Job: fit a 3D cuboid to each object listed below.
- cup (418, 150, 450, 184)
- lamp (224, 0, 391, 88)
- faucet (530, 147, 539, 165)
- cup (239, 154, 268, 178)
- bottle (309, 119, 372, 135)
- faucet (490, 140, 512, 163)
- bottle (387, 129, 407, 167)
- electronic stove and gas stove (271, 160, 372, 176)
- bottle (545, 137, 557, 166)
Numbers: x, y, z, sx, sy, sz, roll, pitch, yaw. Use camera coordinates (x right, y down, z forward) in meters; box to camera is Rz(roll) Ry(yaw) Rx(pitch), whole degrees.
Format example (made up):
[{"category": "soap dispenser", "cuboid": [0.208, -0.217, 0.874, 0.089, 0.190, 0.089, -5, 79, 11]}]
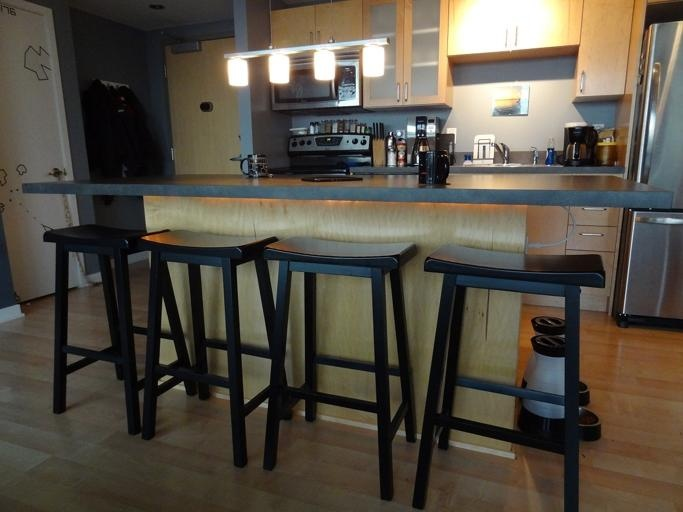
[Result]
[{"category": "cup", "cuboid": [0.458, -0.440, 2.633, 0.146, 0.158, 0.162, 2, 14, 8]}, {"category": "lamp", "cuboid": [-0.212, -1.213, 3.304, 1.014, 0.272, 0.318, 3, 14, 12]}, {"category": "faucet", "cuboid": [1.704, -0.881, 4.669, 0.071, 0.145, 0.229, 5, 14, 18]}, {"category": "cup", "cuboid": [-0.566, -0.566, 3.308, 0.186, 0.134, 0.134, 4, 14, 16]}, {"category": "bottle", "cuboid": [-0.031, -1.253, 5.133, 0.655, 0.130, 0.375, 2, 14, 7]}, {"category": "faucet", "cuboid": [1.463, -0.940, 4.821, 0.153, 0.189, 0.125, 13, 18, 41]}, {"category": "bottle", "cuboid": [0.514, -0.981, 4.890, 0.192, 0.281, 0.260, 0, 14, -1]}, {"category": "electronic stove and gas stove", "cuboid": [-0.220, -0.857, 5.015, 0.992, 0.138, 0.734, 7, 15, 26]}, {"category": "bottle", "cuboid": [1.811, -0.908, 4.590, 0.089, 0.220, 0.327, 6, 15, 21]}]
